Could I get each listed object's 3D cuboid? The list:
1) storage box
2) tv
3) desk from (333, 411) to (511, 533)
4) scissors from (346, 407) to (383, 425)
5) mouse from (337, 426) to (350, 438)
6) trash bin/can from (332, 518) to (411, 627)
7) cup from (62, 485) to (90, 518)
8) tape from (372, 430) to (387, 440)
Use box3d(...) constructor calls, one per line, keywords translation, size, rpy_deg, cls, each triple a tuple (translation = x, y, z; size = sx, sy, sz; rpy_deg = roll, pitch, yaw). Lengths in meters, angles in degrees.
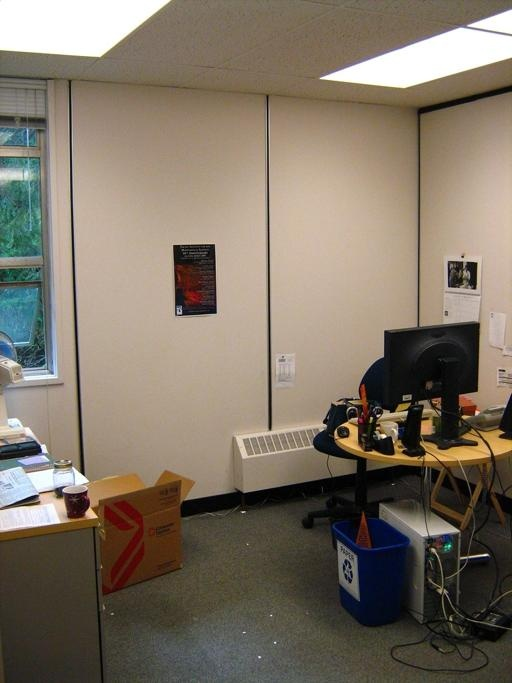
box3d(translation=(-0.552, 0.916, 2.689), size=(0.625, 0.446, 0.357), rpy_deg=(-7, 13, -30), cls="storage box")
box3d(translation=(0.776, 0.203, 2.505), size=(0.469, 0.484, 0.235), rpy_deg=(-6, 17, -15), cls="tv")
box3d(translation=(0.871, 0.676, 2.912), size=(0.642, 0.339, 0.634), rpy_deg=(-10, 17, -26), cls="desk")
box3d(translation=(0.510, 0.346, 2.660), size=(0.130, 0.037, 0.126), rpy_deg=(0, 0, 0), cls="scissors")
box3d(translation=(0.421, 0.433, 2.746), size=(0.036, 0.015, 0.053), rpy_deg=(5, 27, 8), cls="mouse")
box3d(translation=(0.497, 0.984, 2.397), size=(0.221, 0.338, 0.379), rpy_deg=(-3, 8, -13), cls="trash bin/can")
box3d(translation=(-0.572, 0.502, 1.797), size=(0.064, 0.070, 0.097), rpy_deg=(-1, 9, -18), cls="cup")
box3d(translation=(0.543, 0.412, 2.506), size=(0.033, 0.015, 0.046), rpy_deg=(-2, 5, -13), cls="tape")
